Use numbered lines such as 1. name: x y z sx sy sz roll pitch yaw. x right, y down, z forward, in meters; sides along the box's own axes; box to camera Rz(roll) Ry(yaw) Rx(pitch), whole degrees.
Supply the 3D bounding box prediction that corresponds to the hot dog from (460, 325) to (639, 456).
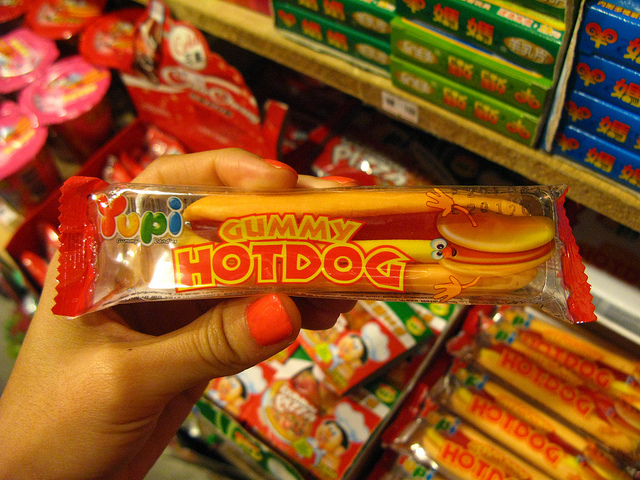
1. hot dog: 0.565 0.392 1.452 0.505 0.071 0.190 32 73 22
